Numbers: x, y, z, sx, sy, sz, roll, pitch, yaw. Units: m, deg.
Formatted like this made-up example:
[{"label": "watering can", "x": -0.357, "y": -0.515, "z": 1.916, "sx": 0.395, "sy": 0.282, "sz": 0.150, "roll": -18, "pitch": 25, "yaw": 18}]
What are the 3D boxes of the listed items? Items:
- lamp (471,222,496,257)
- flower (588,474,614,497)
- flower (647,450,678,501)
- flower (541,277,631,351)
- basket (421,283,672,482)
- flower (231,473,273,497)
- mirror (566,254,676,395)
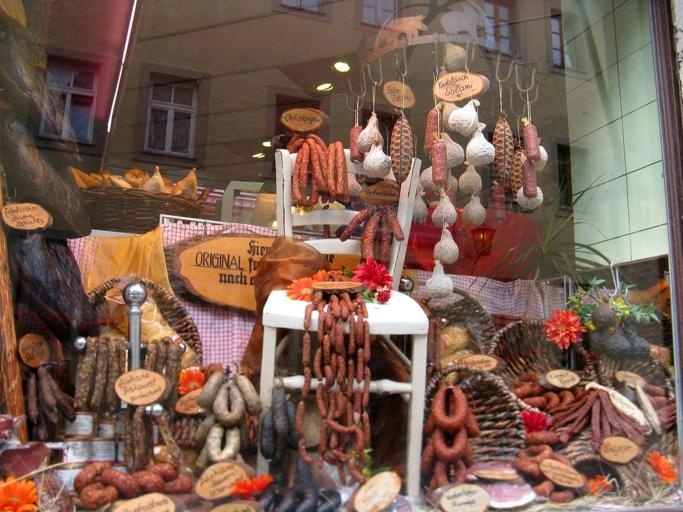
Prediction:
[{"label": "lamp", "x": 0.790, "y": -0.088, "z": 3.534, "sx": 0.152, "sy": 0.160, "sz": 0.157, "roll": -2, "pitch": -2, "yaw": -5}, {"label": "flower", "x": 1.017, "y": 0.904, "z": 2.439, "sx": 0.104, "sy": 0.055, "sz": 0.060, "roll": -2, "pitch": -13, "yaw": -18}, {"label": "flower", "x": 1.375, "y": 0.922, "z": 2.629, "sx": 0.150, "sy": 0.180, "sz": 0.046, "roll": -13, "pitch": -7, "yaw": -36}, {"label": "flower", "x": 1.216, "y": 0.267, "z": 3.001, "sx": 0.349, "sy": 0.159, "sz": 0.256, "roll": -17, "pitch": 22, "yaw": -41}, {"label": "basket", "x": 0.936, "y": 0.632, "z": 2.760, "sx": 0.756, "sy": 0.307, "sz": 0.865, "roll": 4, "pitch": 18, "yaw": 4}, {"label": "flower", "x": -0.313, "y": 0.817, "z": 2.225, "sx": 0.095, "sy": 0.031, "sz": 0.075, "roll": 1, "pitch": 20, "yaw": -32}, {"label": "mirror", "x": 1.328, "y": 0.313, "z": 2.913, "sx": 0.350, "sy": 0.481, "sz": 0.247, "roll": 5, "pitch": 12, "yaw": 22}]
